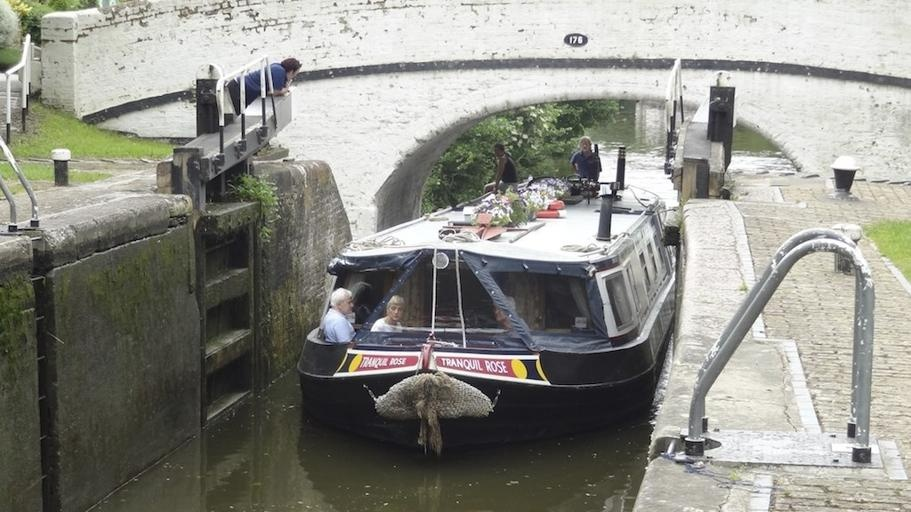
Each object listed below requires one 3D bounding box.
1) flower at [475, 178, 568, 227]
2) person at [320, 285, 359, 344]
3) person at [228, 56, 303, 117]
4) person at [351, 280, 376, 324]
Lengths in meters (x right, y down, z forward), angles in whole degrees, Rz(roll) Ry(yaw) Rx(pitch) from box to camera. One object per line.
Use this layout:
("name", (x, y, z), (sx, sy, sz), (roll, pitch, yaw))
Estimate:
("flower", (1.259, -0.956, 21.558), (0.698, 0.346, 2.294), (5, 10, 21))
("person", (-1.842, 0.974, 19.471), (0.560, 0.759, 0.879), (-4, 10, -16))
("person", (-3.449, -3.184, 22.117), (2.148, 0.610, 0.611), (-16, 31, -41))
("person", (-1.527, 0.755, 19.793), (0.398, 0.639, 0.270), (6, -2, -17))
